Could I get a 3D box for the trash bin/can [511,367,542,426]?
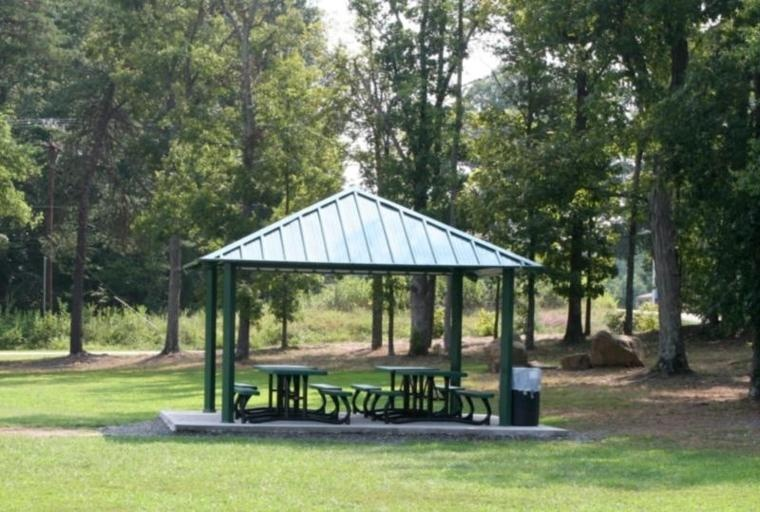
[{"bbox_3d":[5.449,5.220,57.443,1.059,2.178,0.497,2,-9,-18],"label":"trash bin/can"}]
